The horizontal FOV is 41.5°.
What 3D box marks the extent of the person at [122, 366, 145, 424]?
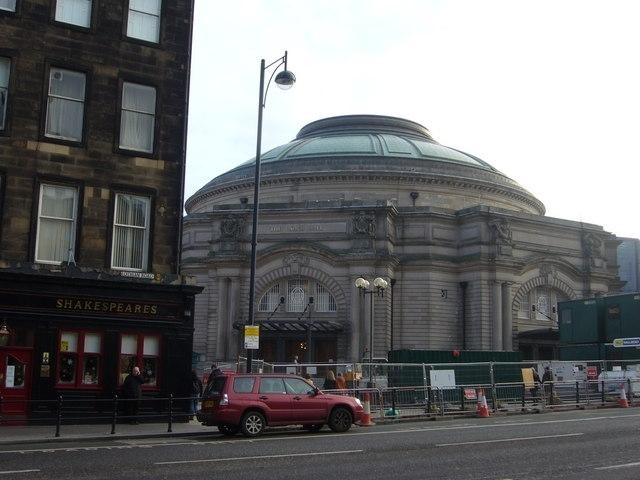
[{"bbox_3d":[-7.389,6.041,33.364,0.797,2.309,1.365,3,-17,-12],"label":"person"}]
